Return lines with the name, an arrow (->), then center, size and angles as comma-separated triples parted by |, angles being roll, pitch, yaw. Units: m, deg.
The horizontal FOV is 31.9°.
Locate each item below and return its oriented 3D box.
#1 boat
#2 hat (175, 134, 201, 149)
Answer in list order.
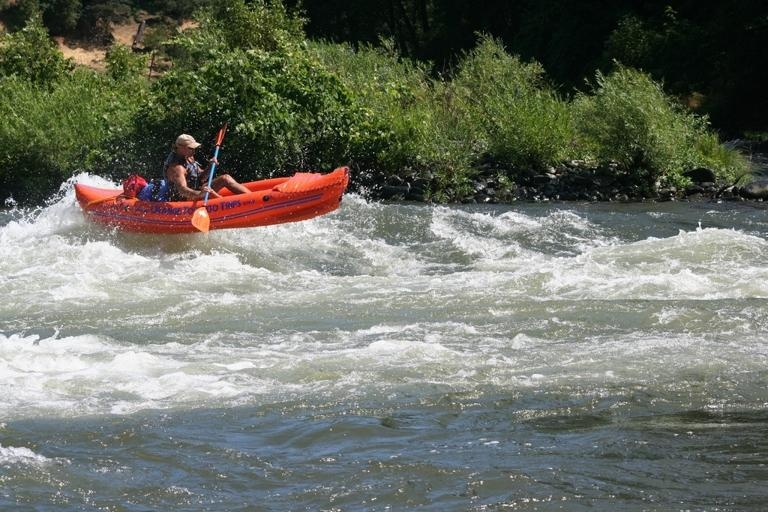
boat -> -3.493, -0.991, 27.765 | 4.801, 0.798, 1.912 | -5, 11, 7
hat -> -4.040, -2.300, 27.531 | 0.549, 0.203, 0.321 | 5, 17, 0
